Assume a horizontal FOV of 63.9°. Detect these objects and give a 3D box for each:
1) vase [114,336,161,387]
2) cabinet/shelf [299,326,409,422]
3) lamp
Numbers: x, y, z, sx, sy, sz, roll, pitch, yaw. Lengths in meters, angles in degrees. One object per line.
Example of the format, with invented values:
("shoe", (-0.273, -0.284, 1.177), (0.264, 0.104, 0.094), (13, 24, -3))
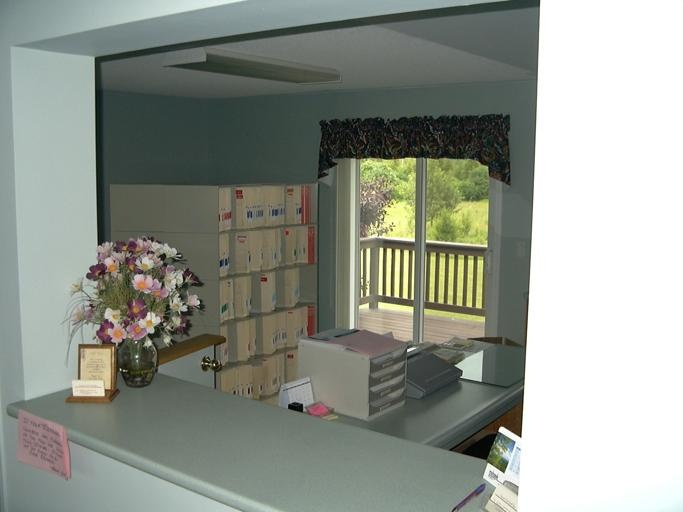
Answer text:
("vase", (-0.805, 0.420, 2.198), (0.184, 0.240, 0.185), (-8, -9, 36))
("cabinet/shelf", (0.072, 0.524, 2.693), (0.404, 0.319, 0.385), (3, 6, 34))
("lamp", (-0.413, -0.957, 2.828), (0.357, 0.091, 0.762), (4, 3, 40))
